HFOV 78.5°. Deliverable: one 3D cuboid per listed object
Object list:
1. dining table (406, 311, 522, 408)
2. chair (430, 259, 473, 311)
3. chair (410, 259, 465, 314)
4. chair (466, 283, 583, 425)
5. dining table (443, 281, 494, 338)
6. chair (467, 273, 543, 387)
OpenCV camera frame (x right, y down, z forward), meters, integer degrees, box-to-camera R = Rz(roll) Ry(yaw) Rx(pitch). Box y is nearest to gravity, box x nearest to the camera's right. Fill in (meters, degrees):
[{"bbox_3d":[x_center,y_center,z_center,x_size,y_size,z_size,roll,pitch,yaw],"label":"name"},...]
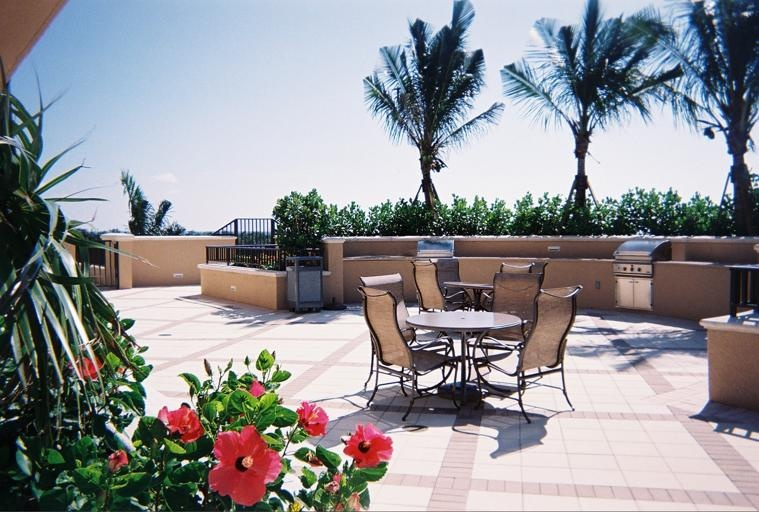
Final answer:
[{"bbox_3d":[0.942,1.080,5.198,0.985,0.677,1.005,0,2,6],"label":"dining table"},{"bbox_3d":[1.545,0.682,9.124,0.955,1.144,0.806,10,6,6],"label":"chair"},{"bbox_3d":[1.140,0.603,8.645,0.946,1.095,1.023,-5,4,2],"label":"chair"},{"bbox_3d":[1.587,0.941,4.972,0.781,1.297,0.942,-2,4,-33],"label":"chair"},{"bbox_3d":[1.727,0.967,8.738,0.857,0.617,0.814,0,-1,37],"label":"dining table"},{"bbox_3d":[1.620,0.886,6.126,1.042,1.332,0.867,4,0,-35],"label":"chair"}]
